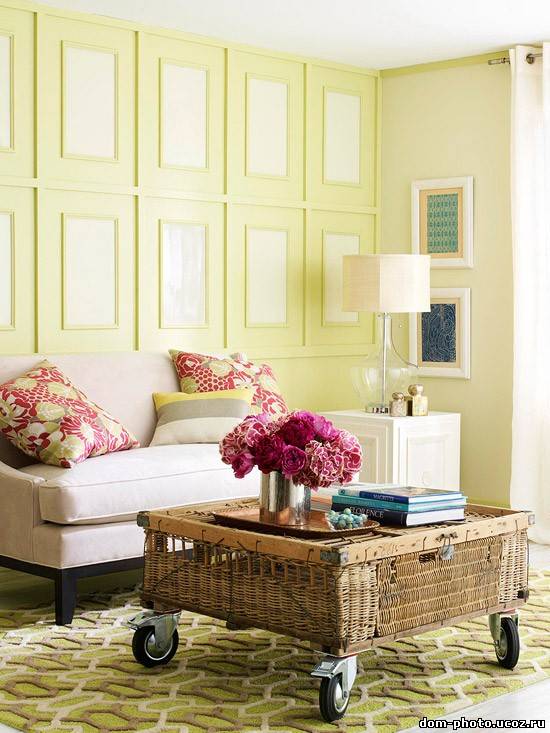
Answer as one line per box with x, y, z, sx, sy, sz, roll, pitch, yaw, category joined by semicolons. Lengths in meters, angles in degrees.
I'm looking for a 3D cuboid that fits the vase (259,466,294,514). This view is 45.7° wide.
0.000;0.298;1.583;0.103;0.156;0.097;1;-2;0;vase

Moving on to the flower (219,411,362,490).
0.044;0.194;1.577;0.241;0.157;0.218;4;-3;-13;flower

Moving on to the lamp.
0.653;-0.204;3.888;0.469;0.946;0.350;-2;3;-23;lamp

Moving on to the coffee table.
0.230;0.412;1.631;0.601;0.314;0.672;0;0;42;coffee table
